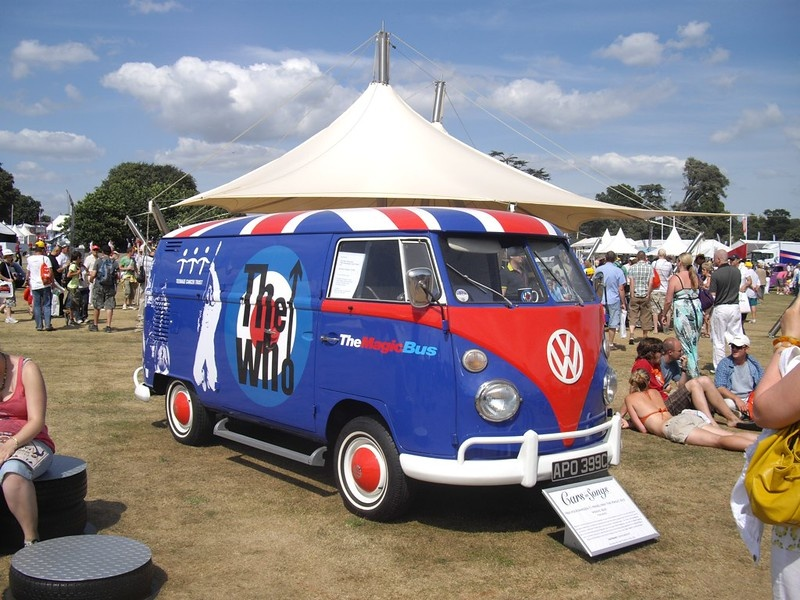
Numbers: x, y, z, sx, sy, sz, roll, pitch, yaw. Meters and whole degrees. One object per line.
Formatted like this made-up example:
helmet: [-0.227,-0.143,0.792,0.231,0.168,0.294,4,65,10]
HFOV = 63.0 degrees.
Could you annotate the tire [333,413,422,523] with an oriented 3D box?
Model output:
tire: [-0.192,1.561,6.032,0.338,0.938,0.847,-3,14,-40]

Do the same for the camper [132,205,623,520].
camper: [-0.585,0.375,7.443,2.607,2.514,5.150,0,1,-42]

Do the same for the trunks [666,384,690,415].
trunks: [3.834,1.401,9.004,0.157,0.380,0.385,39,5,-2]

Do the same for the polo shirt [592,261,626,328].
polo shirt: [5.058,-0.049,15.574,0.526,2.009,0.733,-2,5,-36]

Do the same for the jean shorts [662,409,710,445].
jean shorts: [3.686,1.626,8.447,0.356,0.228,0.545,3,6,36]

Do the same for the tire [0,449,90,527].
tire: [-2.907,1.549,5.307,0.706,0.284,0.725,-1,1,-21]

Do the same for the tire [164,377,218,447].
tire: [-2.685,1.361,8.345,0.859,0.926,0.385,8,8,43]

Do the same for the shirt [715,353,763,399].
shirt: [4.610,1.066,8.938,0.778,0.754,0.473,2,-7,14]

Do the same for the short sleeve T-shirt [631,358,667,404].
short sleeve T-shirt: [3.415,1.140,8.995,0.284,0.520,0.534,-6,2,9]

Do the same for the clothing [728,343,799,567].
clothing: [2.051,0.905,3.866,0.388,1.056,0.728,-5,-14,32]
